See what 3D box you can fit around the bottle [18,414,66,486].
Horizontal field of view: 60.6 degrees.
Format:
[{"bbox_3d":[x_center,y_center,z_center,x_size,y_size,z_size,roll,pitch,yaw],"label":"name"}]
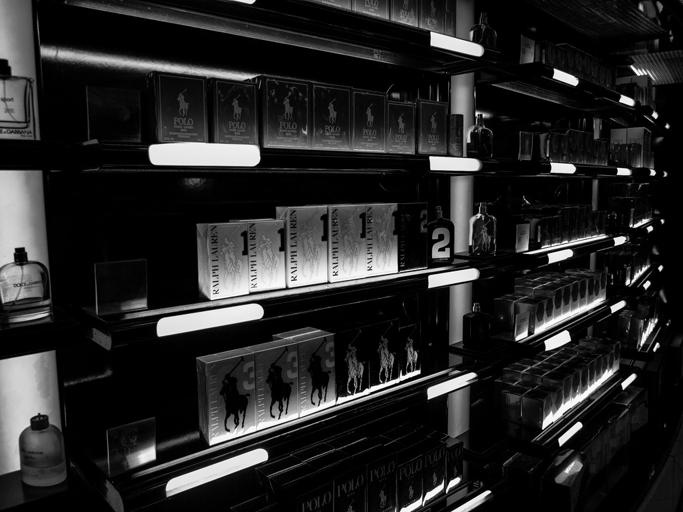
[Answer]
[{"bbox_3d":[-1.170,0.754,2.294,0.153,0.259,0.155,2,12,0],"label":"bottle"}]
